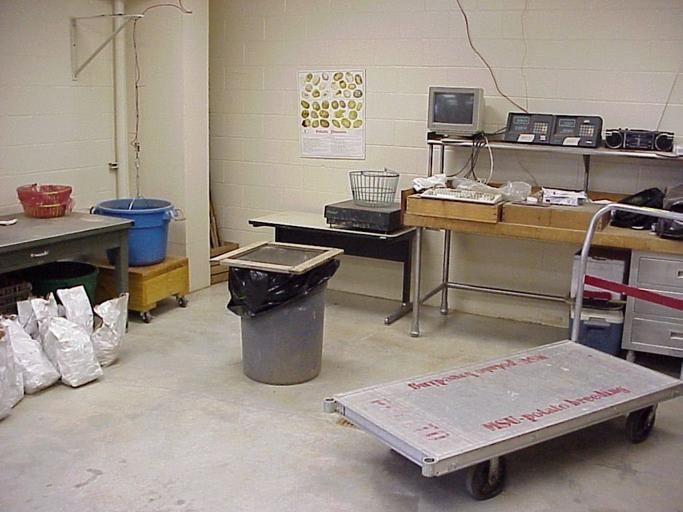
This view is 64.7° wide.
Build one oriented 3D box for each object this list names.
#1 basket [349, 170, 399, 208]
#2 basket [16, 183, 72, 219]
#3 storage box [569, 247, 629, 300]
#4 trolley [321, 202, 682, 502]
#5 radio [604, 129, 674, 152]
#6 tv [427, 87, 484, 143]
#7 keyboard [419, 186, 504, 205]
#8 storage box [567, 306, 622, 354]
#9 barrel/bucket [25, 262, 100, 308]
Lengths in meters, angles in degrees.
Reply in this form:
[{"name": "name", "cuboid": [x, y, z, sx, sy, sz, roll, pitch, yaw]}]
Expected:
[{"name": "basket", "cuboid": [0.272, -0.580, 4.654, 0.409, 0.225, 0.375, 3, 6, 9]}, {"name": "basket", "cuboid": [-2.136, -0.394, 3.994, 0.350, 0.166, 0.348, 0, 7, -5]}, {"name": "storage box", "cuboid": [1.844, 0.077, 3.978, 0.437, 0.397, 0.434, 5, 9, 26]}, {"name": "trolley", "cuboid": [0.840, 0.478, 2.705, 1.637, 0.600, 0.907, -10, 17, -35]}, {"name": "radio", "cuboid": [2.067, -0.807, 3.772, 0.422, 0.140, 0.162, 6, 16, 24]}, {"name": "tv", "cuboid": [0.887, -1.080, 4.332, 0.512, 0.414, 0.364, 4, 12, 21]}, {"name": "keyboard", "cuboid": [0.854, -0.429, 3.857, 0.396, 0.051, 0.225, 8, 18, 29]}, {"name": "storage box", "cuboid": [1.785, 0.469, 3.865, 0.369, 0.332, 0.367, 8, 17, 32]}, {"name": "barrel/bucket", "cuboid": [-2.117, 0.163, 4.087, 0.422, 0.325, 0.421, 3, 22, -1]}]
